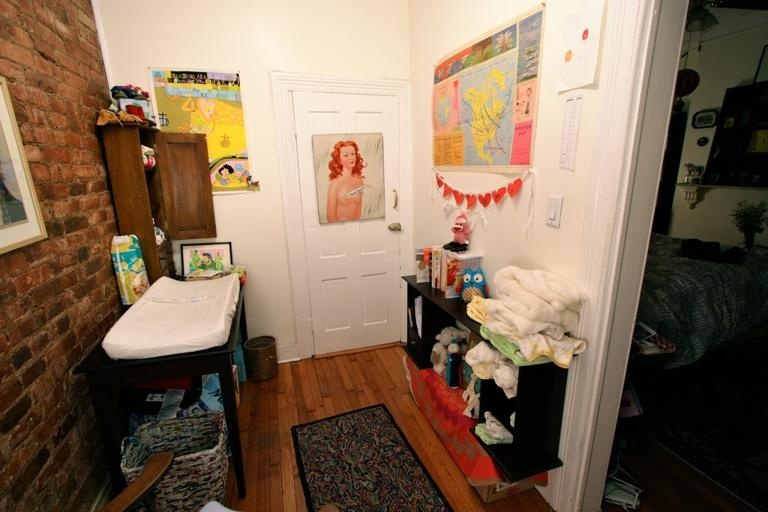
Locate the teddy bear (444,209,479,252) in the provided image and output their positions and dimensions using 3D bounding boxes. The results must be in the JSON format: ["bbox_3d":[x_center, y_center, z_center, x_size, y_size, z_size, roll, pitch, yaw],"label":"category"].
[{"bbox_3d":[0.501,-0.175,3.350,0.186,0.265,0.178,-9,22,-20],"label":"teddy bear"}]

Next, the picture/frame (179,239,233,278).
[{"bbox_3d":[-1.358,0.017,3.701,0.270,0.218,0.019,-5,7,-9],"label":"picture/frame"}]

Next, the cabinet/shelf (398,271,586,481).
[{"bbox_3d":[0.663,0.717,2.895,0.297,0.563,1.133,-5,19,-16],"label":"cabinet/shelf"}]

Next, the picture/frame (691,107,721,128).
[{"bbox_3d":[1.621,-0.699,2.494,0.031,0.091,0.090,-14,20,-40],"label":"picture/frame"}]

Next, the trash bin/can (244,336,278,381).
[{"bbox_3d":[-0.921,0.792,3.968,0.298,0.329,0.296,1,17,1],"label":"trash bin/can"}]

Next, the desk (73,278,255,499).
[{"bbox_3d":[-1.258,0.697,3.196,0.875,1.086,1.683,-4,17,-9],"label":"desk"}]
